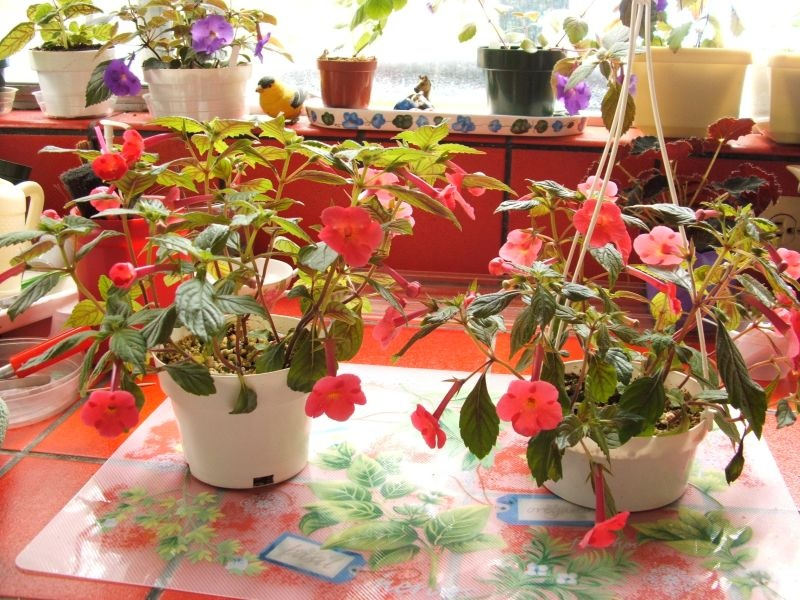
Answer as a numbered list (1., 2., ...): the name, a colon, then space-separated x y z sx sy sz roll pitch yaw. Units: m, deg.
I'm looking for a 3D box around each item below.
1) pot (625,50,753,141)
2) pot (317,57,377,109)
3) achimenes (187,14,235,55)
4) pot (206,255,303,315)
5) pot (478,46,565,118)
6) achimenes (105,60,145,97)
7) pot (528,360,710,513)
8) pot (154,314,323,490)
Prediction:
1. pot: 0.695 -0.477 1.309 0.334 0.198 0.245 -3 3 -30
2. pot: -0.125 -0.562 1.355 0.171 0.099 0.147 9 17 11
3. achimenes: -0.415 -0.588 1.143 0.083 0.072 0.106 -5 22 -16
4. pot: -0.253 -0.054 0.961 0.171 0.062 0.147 5 13 4
5. pot: 0.335 -0.571 1.348 0.245 0.146 0.217 -13 31 -21
6. achimenes: -0.592 -0.472 1.093 0.063 0.069 0.131 -9 23 -25
7. pot: 0.288 0.191 0.689 0.207 0.083 0.179 -21 29 -31
8. pot: -0.214 0.169 0.781 0.277 0.158 0.226 3 6 11
